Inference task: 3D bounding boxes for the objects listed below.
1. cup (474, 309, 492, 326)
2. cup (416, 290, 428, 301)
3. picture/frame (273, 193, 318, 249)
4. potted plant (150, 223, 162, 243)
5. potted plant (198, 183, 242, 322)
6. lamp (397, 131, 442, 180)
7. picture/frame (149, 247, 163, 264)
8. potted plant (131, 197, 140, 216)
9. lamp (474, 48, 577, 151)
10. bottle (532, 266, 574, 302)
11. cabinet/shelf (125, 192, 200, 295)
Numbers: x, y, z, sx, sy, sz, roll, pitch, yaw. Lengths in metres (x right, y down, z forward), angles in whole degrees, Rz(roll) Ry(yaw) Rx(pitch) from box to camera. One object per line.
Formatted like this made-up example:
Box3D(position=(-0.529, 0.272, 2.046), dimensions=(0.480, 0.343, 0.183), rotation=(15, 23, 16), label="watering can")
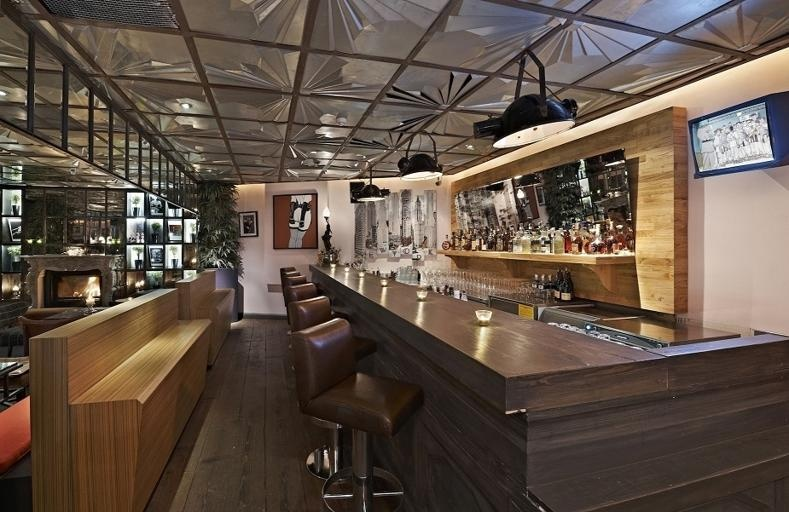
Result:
Box3D(position=(0.750, 0.509, 3.962), dimensions=(0.140, 0.088, 0.125), rotation=(2, -6, -12), label="cup")
Box3D(position=(0.293, 0.400, 4.826), dimensions=(0.107, 0.068, 0.099), rotation=(0, -4, 0), label="cup")
Box3D(position=(-2.128, -0.796, 10.295), dimensions=(1.423, 1.498, 0.108), rotation=(0, -1, 3), label="picture/frame")
Box3D(position=(-5.120, -0.475, 10.085), dimensions=(0.250, 0.421, 0.107), rotation=(-4, 12, -11), label="potted plant")
Box3D(position=(-3.909, -0.109, 10.309), dimensions=(0.980, 2.578, 0.858), rotation=(5, 18, 7), label="potted plant")
Box3D(position=(0.350, -1.322, 6.090), dimensions=(0.557, 0.516, 0.505), rotation=(-2, 9, -22), label="lamp")
Box3D(position=(-5.141, -0.008, 10.108), dimensions=(0.400, 0.469, 0.050), rotation=(0, 3, -4), label="picture/frame")
Box3D(position=(-5.531, -1.056, 10.091), dimensions=(0.174, 0.406, 0.091), rotation=(-6, 13, -21), label="potted plant")
Box3D(position=(1.149, -1.450, 4.244), dimensions=(0.759, 0.882, 0.800), rotation=(-4, 12, -15), label="lamp")
Box3D(position=(2.054, 0.351, 6.208), dimensions=(0.465, 0.385, 0.579), rotation=(-6, 12, -23), label="bottle")
Box3D(position=(-5.065, -0.329, 10.112), dimensions=(1.517, 2.090, 0.587), rotation=(-1, 12, 3), label="cabinet/shelf")
